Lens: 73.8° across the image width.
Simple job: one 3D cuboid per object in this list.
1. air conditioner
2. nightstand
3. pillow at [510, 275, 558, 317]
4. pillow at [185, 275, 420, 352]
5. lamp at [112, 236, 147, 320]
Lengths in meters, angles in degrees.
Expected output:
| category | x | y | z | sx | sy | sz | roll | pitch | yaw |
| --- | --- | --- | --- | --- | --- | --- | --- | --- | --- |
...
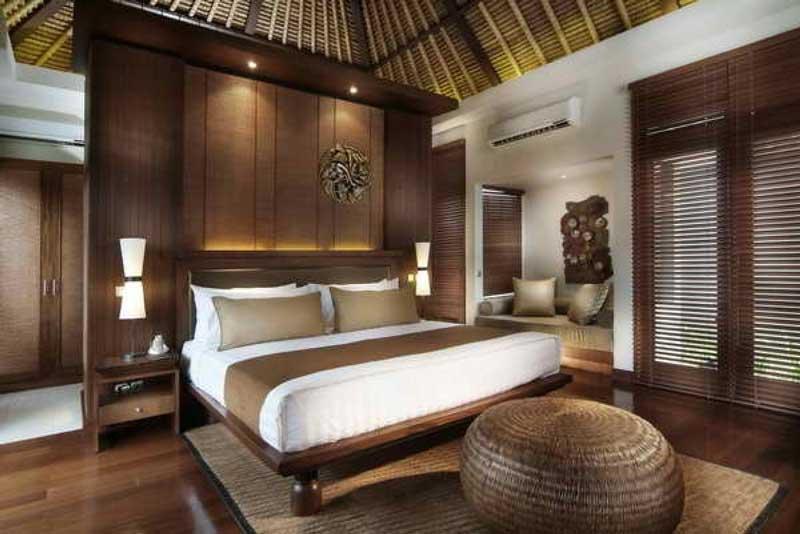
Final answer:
| category | x | y | z | sx | sy | sz | roll | pitch | yaw |
| --- | --- | --- | --- | --- | --- | --- | --- | --- | --- |
| air conditioner | 1.650 | -1.863 | 6.863 | 1.180 | 0.280 | 0.203 | -8 | 0 | 40 |
| nightstand | -2.585 | 1.239 | 5.155 | 0.788 | 0.801 | 0.895 | 2 | -5 | -37 |
| pillow | 1.936 | 0.436 | 7.655 | 0.565 | 0.529 | 0.215 | 0 | -29 | 14 |
| pillow | -1.411 | 0.470 | 5.439 | 2.092 | 0.651 | 1.015 | 7 | 0 | -35 |
| lamp | -2.580 | 0.117 | 5.082 | 0.241 | 0.911 | 0.277 | 1 | -1 | -26 |
